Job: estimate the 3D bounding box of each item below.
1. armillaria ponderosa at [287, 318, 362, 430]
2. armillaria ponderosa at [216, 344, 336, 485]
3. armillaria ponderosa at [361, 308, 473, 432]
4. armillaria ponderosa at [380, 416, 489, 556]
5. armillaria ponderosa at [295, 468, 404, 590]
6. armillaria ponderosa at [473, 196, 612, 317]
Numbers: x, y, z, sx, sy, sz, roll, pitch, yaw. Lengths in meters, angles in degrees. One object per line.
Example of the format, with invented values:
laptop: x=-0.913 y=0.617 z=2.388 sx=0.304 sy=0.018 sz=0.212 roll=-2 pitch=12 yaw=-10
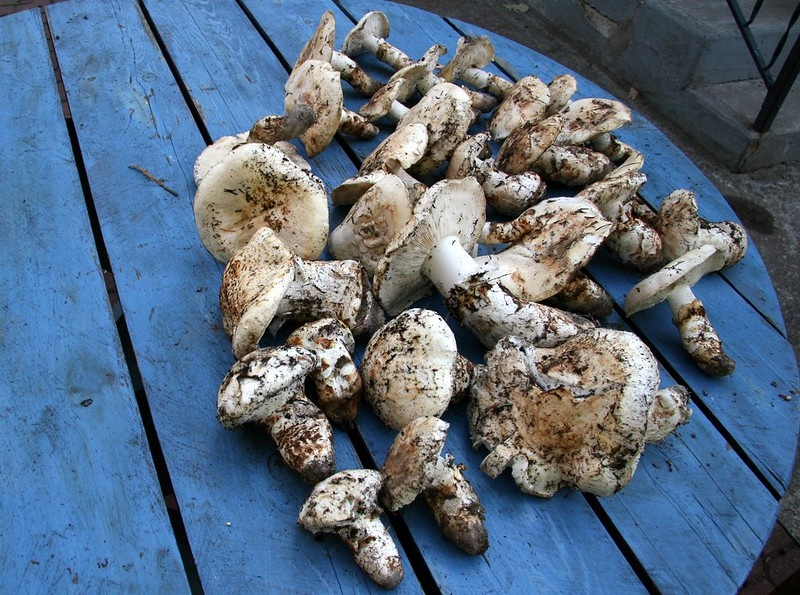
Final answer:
armillaria ponderosa: x=-0.435 y=0.455 z=4.436 sx=0.299 sy=0.308 sz=0.517 roll=-14 pitch=65 yaw=-35
armillaria ponderosa: x=-0.601 y=0.587 z=4.335 sx=0.723 sy=0.360 sz=0.595 roll=28 pitch=73 yaw=11
armillaria ponderosa: x=0.050 y=0.400 z=4.444 sx=0.563 sy=0.260 sz=0.635 roll=-18 pitch=71 yaw=-5
armillaria ponderosa: x=0.177 y=1.049 z=4.234 sx=0.408 sy=0.444 sz=0.520 roll=-44 pitch=76 yaw=6
armillaria ponderosa: x=-0.185 y=1.162 z=4.133 sx=0.623 sy=0.213 sz=0.454 roll=32 pitch=74 yaw=12
armillaria ponderosa: x=0.902 y=-0.282 z=4.868 sx=0.721 sy=0.293 sz=0.812 roll=-20 pitch=53 yaw=6
